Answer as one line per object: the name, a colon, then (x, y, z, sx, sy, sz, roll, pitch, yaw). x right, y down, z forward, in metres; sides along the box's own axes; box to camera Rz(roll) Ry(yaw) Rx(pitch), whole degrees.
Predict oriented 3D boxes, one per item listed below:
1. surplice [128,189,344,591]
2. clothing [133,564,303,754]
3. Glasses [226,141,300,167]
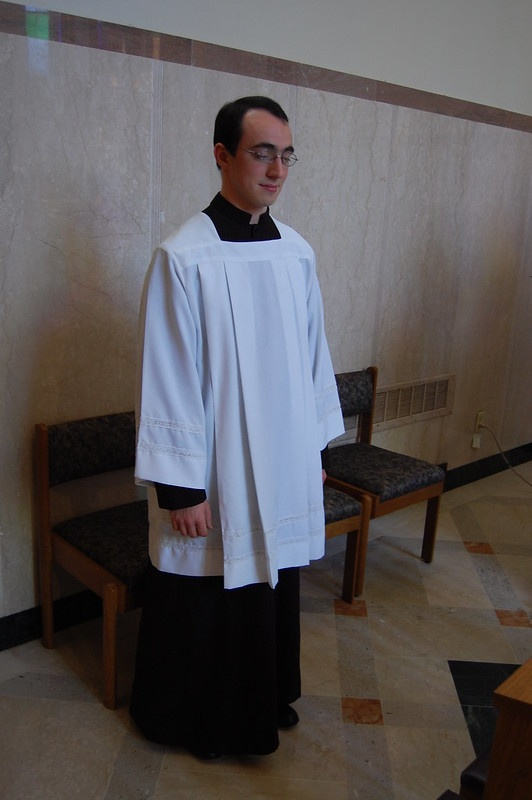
surplice: (-0.036, -0.006, 1.430, 0.514, 0.830, 0.300, -1, 11, -16)
clothing: (-0.037, 0.593, 1.629, 0.252, 0.419, 0.379, 9, 15, 28)
Glasses: (-0.006, -0.476, 1.267, 0.117, 0.036, 0.042, 0, 11, -10)
